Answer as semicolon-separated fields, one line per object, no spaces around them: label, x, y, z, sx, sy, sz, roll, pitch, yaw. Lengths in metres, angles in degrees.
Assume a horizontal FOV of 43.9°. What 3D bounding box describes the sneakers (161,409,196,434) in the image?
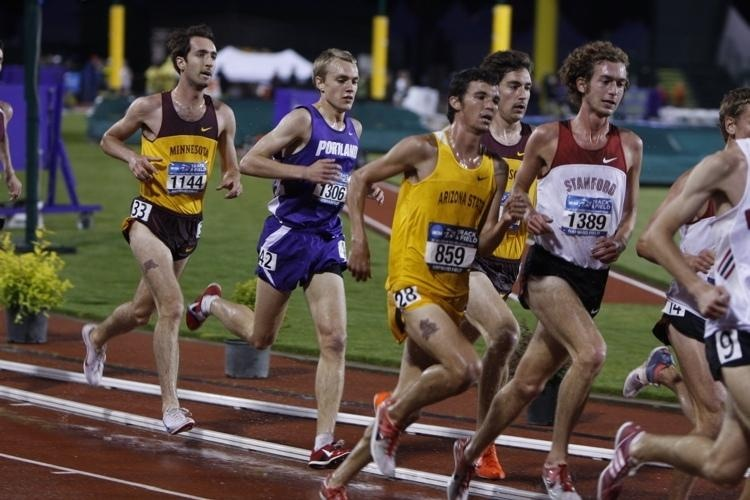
sneakers;-1.415;1.252;6.794;0.126;0.148;0.312;7;-18;-43

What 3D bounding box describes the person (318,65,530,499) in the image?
person;0.326;0.259;5.986;1.130;2.881;0.898;5;9;-13

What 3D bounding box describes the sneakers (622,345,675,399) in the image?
sneakers;2.011;0.884;6.776;0.180;0.239;0.527;-6;-28;-41

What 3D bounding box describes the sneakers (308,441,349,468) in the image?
sneakers;-0.288;1.374;6.232;0.327;0.158;0.123;-22;-19;19

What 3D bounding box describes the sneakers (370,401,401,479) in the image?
sneakers;0.057;1.195;5.717;0.175;0.492;0.179;7;9;2
